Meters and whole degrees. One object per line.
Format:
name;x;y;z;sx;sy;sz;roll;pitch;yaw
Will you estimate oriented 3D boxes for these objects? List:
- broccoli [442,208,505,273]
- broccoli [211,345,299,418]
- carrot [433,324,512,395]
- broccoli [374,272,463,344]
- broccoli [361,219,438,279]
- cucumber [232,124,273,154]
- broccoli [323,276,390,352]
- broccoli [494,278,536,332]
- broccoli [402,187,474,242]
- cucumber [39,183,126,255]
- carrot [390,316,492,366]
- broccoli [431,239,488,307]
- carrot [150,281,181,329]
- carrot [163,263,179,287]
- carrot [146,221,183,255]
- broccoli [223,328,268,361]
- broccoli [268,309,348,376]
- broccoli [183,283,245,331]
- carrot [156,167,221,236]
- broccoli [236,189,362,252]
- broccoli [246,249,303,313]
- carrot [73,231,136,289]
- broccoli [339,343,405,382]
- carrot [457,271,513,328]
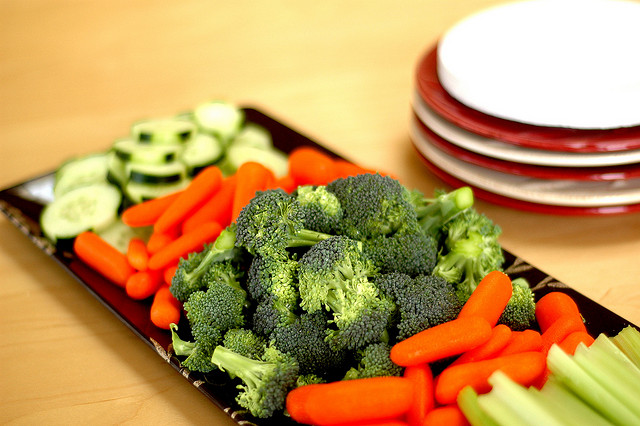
broccoli;0.665;0.094;2.161;0.245;0.250;0.081;40;39;17
broccoli;-0.221;0.603;1.889;0.252;0.121;0.196;17;65;28
carrot;0.507;0.490;1.730;0.239;0.062;0.055;-32;90;-15
broccoli;0.372;0.320;1.882;0.254;0.095;0.252;-16;49;-19
broccoli;0.323;0.155;2.091;0.259;0.145;0.221;2;82;2
cucumber;-0.362;-0.399;2.838;0.172;0.021;0.194;-8;54;-6
broccoli;0.125;0.357;1.863;0.243;0.106;0.241;-22;50;-20
broccoli;0.750;0.371;2.055;0.150;0.103;0.186;6;64;-10
broccoli;0.483;0.017;2.167;0.168;0.304;0.120;28;62;-4
cucumber;-1.143;-0.018;2.429;0.060;0.279;0.416;15;18;31
carrot;0.416;0.456;1.806;0.376;0.128;0.119;-24;62;21
broccoli;0.526;0.223;2.120;0.231;0.083;0.229;-7;64;-41
carrot;-0.650;0.391;2.151;0.128;0.110;0.268;-5;16;-19
carrot;-0.646;0.258;2.262;0.048;0.090;0.089;25;55;-9
carrot;-0.702;0.112;2.394;0.071;0.075;0.233;-5;18;35
broccoli;-0.280;0.487;1.943;0.123;0.054;0.111;19;26;13
broccoli;-0.044;0.470;1.896;0.232;0.125;0.257;-32;54;-18
broccoli;-0.398;0.355;1.990;0.181;0.071;0.195;-5;32;-13
carrot;-0.583;-0.071;2.463;0.447;0.138;0.115;-43;23;-19
broccoli;-0.112;0.081;2.063;0.395;0.249;0.195;9;58;-2
broccoli;-0.153;0.260;1.996;0.213;0.228;0.071;32;23;33
carrot;-0.950;0.206;2.339;0.332;0.114;0.154;38;70;13
broccoli;0.202;0.516;1.871;0.229;0.169;0.118;-10;70;-6
carrot;0.611;0.308;1.921;0.115;0.118;0.273;38;57;17
